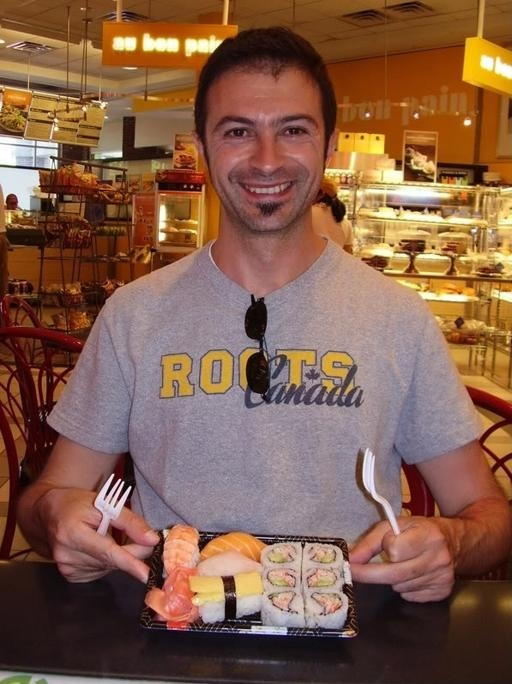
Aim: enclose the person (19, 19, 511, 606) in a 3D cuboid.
[{"bbox_3d":[0.030,0.057,1.063,0.652,1.360,0.502,1,9,-16],"label":"person"}]
